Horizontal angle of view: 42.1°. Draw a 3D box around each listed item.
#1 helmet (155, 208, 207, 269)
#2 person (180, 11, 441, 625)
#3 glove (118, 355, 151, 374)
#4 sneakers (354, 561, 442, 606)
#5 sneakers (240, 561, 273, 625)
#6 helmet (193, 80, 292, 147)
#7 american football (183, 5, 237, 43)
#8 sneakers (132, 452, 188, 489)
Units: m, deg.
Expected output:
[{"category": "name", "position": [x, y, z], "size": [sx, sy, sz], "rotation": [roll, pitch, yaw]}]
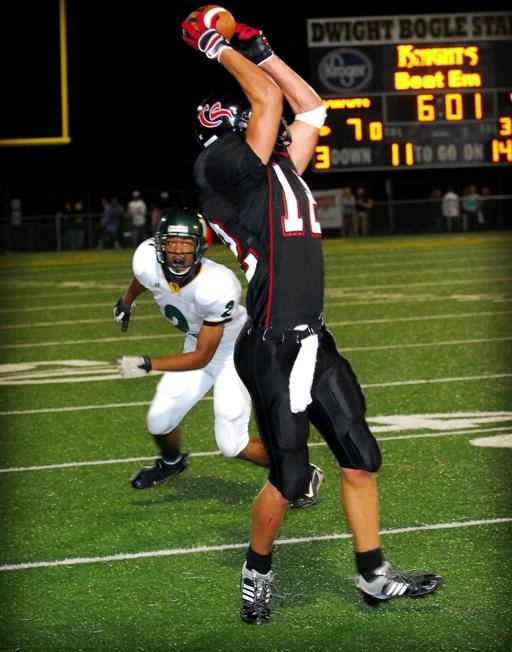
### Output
[{"category": "helmet", "position": [-0.333, -0.378, 2.921], "size": [0.255, 0.266, 0.284], "rotation": [1, 11, 3]}, {"category": "person", "position": [0.148, -0.074, 2.135], "size": [0.641, 1.929, 0.545], "rotation": [-4, 5, -1]}, {"category": "glove", "position": [-0.489, 0.157, 2.644], "size": [0.109, 0.042, 0.075], "rotation": [2, -28, -2]}, {"category": "sneakers", "position": [0.446, 0.819, 2.090], "size": [0.305, 0.120, 0.093], "rotation": [-9, 34, -4]}, {"category": "sneakers", "position": [-0.001, 0.810, 2.012], "size": [0.069, 0.170, 0.077], "rotation": [1, -20, -11]}, {"category": "helmet", "position": [-0.050, -0.619, 2.056], "size": [0.266, 0.185, 0.180], "rotation": [-21, 11, 0]}, {"category": "american football", "position": [-0.133, -0.929, 2.072], "size": [0.153, 0.074, 0.116], "rotation": [-1, 24, -25]}, {"category": "sneakers", "position": [-0.483, 0.724, 3.438], "size": [0.352, 0.134, 0.113], "rotation": [-15, 46, -37]}]
